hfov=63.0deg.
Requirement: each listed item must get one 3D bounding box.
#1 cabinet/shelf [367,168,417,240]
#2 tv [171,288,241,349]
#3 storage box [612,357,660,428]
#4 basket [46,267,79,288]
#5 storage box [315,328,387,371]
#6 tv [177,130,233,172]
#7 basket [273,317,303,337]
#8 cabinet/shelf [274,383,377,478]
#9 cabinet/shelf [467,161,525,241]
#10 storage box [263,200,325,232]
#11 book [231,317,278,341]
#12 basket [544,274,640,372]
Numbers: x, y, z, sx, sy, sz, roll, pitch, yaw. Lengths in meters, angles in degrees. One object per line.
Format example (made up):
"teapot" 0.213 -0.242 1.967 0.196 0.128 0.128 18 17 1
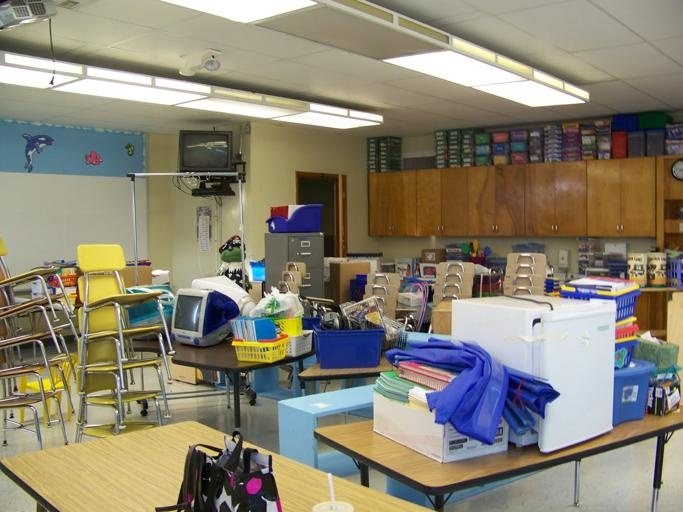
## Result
"cabinet/shelf" 0.915 -0.991 10.084 1.227 1.449 0.556 1 2 36
"tv" -1.246 0.551 5.224 0.520 0.498 0.538 3 4 36
"storage box" 1.413 0.658 2.792 0.303 0.223 0.248 -1 -2 -37
"basket" -3.272 0.253 6.538 0.253 0.130 0.328 -2 -6 -20
"storage box" 0.044 0.634 3.850 0.372 0.170 0.273 -1 -2 0
"tv" -1.940 -1.490 8.093 0.925 0.773 0.542 -1 1 -9
"basket" -0.428 0.569 4.510 0.176 0.122 0.142 -5 -2 25
"cabinet/shelf" -0.059 1.082 3.420 0.334 0.422 0.635 4 1 45
"cabinet/shelf" 2.509 -0.954 9.054 1.222 1.485 0.530 2 4 35
"storage box" -0.566 -0.476 6.954 0.485 0.250 0.412 0 0 -32
"book" -0.680 0.571 4.363 0.193 0.090 0.261 0 0 30
"basket" 1.475 0.333 3.048 0.456 0.568 0.450 -1 -1 -25
